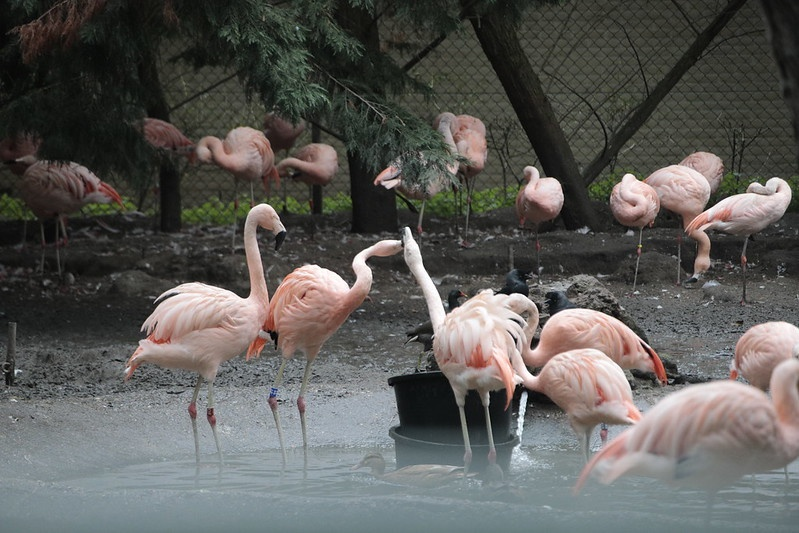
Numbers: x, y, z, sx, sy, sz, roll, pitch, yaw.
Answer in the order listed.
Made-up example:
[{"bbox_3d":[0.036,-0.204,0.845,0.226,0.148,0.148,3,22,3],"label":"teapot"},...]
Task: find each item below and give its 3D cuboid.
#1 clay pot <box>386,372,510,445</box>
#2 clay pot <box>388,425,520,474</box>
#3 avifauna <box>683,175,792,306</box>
[{"bbox_3d":[0.394,0.981,6.904,0.633,0.298,0.615,-1,-9,0],"label":"clay pot"},{"bbox_3d":[0.357,1.405,7.104,0.964,0.363,0.969,3,1,0],"label":"clay pot"},{"bbox_3d":[3.908,-0.405,10.548,1.505,1.743,0.976,-2,1,6],"label":"avifauna"}]
